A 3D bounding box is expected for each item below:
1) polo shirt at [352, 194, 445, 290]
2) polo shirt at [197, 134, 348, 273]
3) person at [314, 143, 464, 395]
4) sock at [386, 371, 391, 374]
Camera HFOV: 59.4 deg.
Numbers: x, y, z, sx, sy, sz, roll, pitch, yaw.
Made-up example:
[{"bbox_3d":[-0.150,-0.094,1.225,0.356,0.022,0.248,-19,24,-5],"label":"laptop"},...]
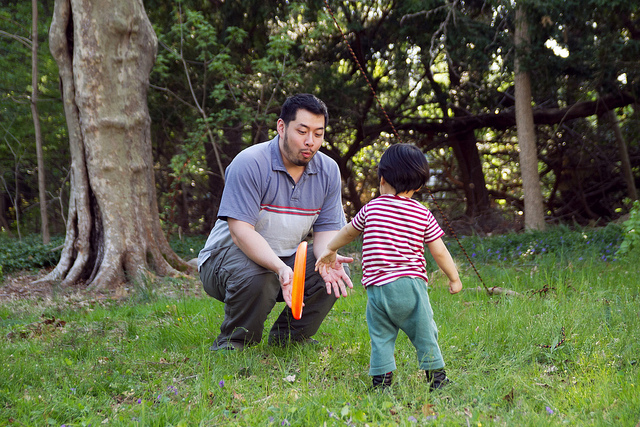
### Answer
[{"bbox_3d":[0.653,0.198,4.732,0.715,0.795,0.441,3,13,-1],"label":"polo shirt"},{"bbox_3d":[-0.291,-0.179,5.238,1.177,1.136,0.631,4,16,-17],"label":"polo shirt"},{"bbox_3d":[0.615,0.445,4.647,1.061,1.603,0.420,-2,-1,16],"label":"person"},{"bbox_3d":[0.559,1.285,4.569,0.030,0.009,0.024,-16,-23,10],"label":"sock"}]
